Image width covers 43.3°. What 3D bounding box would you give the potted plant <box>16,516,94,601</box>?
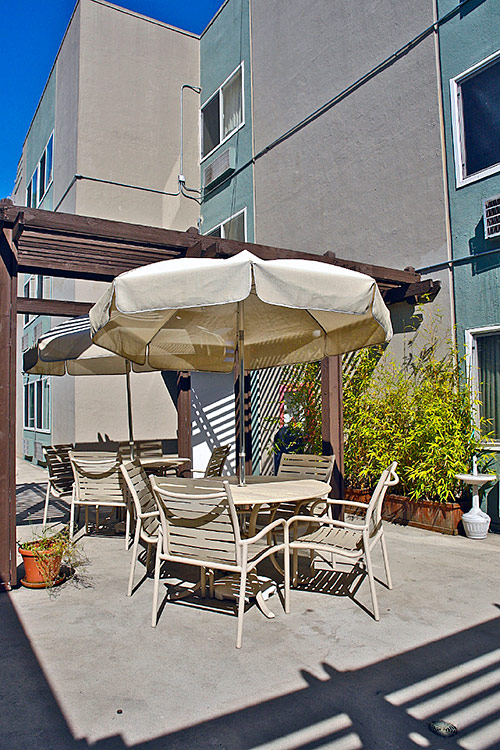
[{"bbox_3d":[-1.225,1.221,4.259,0.555,0.508,0.411,7,-9,-13],"label":"potted plant"}]

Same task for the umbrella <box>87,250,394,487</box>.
[{"bbox_3d":[-0.043,-0.386,4.029,1.587,1.439,1.894,-4,3,-13],"label":"umbrella"}]
